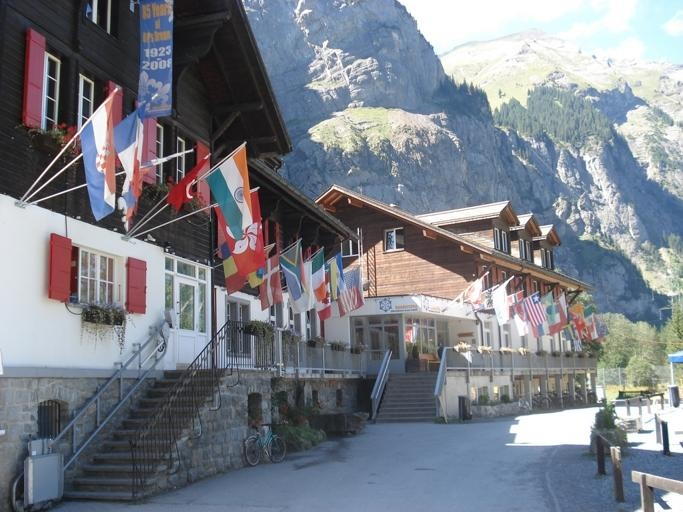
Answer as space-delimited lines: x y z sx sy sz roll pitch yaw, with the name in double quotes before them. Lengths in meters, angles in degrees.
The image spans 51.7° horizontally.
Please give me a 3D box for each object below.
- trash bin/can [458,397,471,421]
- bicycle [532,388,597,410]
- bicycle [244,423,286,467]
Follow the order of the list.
"trash bin/can" 5.701 6.961 32.359 0.329 1.073 0.763 -4 -9 22
"bicycle" 15.384 9.838 48.714 0.975 1.475 7.270 -6 -14 40
"bicycle" -2.100 5.189 19.448 0.607 0.902 1.314 -7 -2 34
